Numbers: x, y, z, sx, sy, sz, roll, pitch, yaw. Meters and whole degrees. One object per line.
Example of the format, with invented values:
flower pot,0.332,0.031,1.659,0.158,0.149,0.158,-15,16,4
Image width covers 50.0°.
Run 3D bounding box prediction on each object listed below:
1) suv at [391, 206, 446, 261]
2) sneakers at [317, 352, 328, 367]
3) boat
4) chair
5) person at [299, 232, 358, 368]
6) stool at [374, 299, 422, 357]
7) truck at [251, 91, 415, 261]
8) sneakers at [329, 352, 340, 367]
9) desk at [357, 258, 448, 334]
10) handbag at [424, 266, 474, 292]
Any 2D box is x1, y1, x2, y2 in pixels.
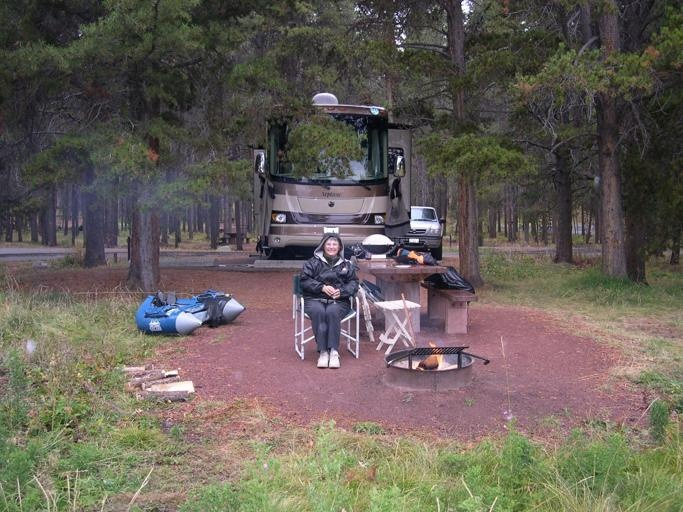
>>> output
suv,3.055,-0.906,27.113,1.356,1.383,2.760,0,-1,4
sneakers,-0.288,1.621,11.548,0.185,0.219,0.273,-1,3,-3
boat,-2.815,0.999,13.591,1.072,0.772,1.917,1,3,30
chair,-0.231,1.009,13.042,1.228,1.489,1.270,3,2,44
person,-0.240,0.677,12.043,0.933,2.056,1.359,0,3,15
stool,0.980,1.162,12.705,0.729,1.091,1.033,-3,6,-12
truck,-0.588,-2.084,17.961,4.126,3.895,4.355,0,3,9
sneakers,-0.120,1.619,11.499,0.171,0.232,0.524,-1,-2,-2
desk,1.405,0.750,14.190,1.111,1.160,2.188,-5,1,18
handbag,2.160,0.501,14.293,0.691,0.316,0.518,4,2,-38
